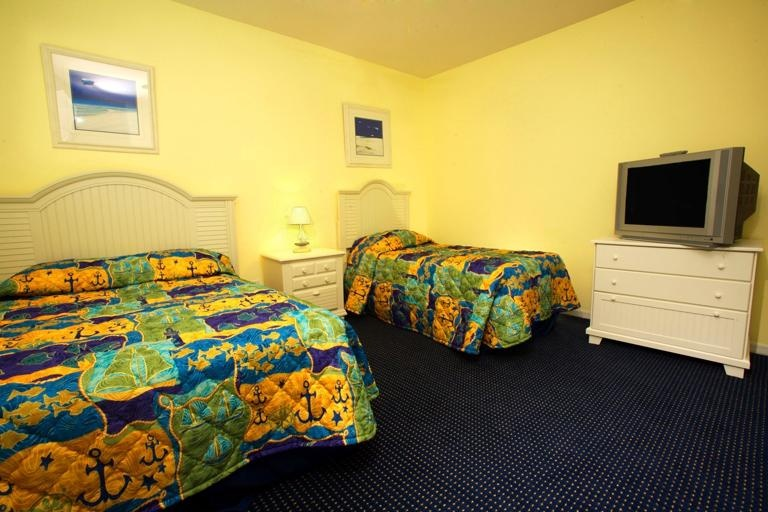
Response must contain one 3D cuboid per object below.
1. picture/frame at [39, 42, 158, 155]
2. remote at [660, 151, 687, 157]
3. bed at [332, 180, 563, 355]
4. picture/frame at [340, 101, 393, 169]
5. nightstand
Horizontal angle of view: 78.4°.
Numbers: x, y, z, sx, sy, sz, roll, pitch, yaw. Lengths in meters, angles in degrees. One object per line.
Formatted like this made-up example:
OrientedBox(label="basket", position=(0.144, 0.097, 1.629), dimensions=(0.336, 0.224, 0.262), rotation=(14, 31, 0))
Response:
OrientedBox(label="picture/frame", position=(-2.552, -1.389, 4.120), dimensions=(1.053, 0.993, 0.074), rotation=(-4, 5, -37))
OrientedBox(label="remote", position=(2.529, -0.889, 4.105), dimensions=(0.161, 0.040, 0.159), rotation=(-1, 4, 35))
OrientedBox(label="bed", position=(0.726, -0.041, 5.106), dimensions=(1.647, 1.551, 2.388), rotation=(-11, 13, -43))
OrientedBox(label="picture/frame", position=(-0.242, -1.457, 5.621), dimensions=(0.854, 0.810, 0.058), rotation=(-4, 6, -38))
OrientedBox(label="nightstand", position=(-0.847, 0.323, 5.054), dimensions=(0.720, 0.707, 0.533), rotation=(-9, 14, -40))
